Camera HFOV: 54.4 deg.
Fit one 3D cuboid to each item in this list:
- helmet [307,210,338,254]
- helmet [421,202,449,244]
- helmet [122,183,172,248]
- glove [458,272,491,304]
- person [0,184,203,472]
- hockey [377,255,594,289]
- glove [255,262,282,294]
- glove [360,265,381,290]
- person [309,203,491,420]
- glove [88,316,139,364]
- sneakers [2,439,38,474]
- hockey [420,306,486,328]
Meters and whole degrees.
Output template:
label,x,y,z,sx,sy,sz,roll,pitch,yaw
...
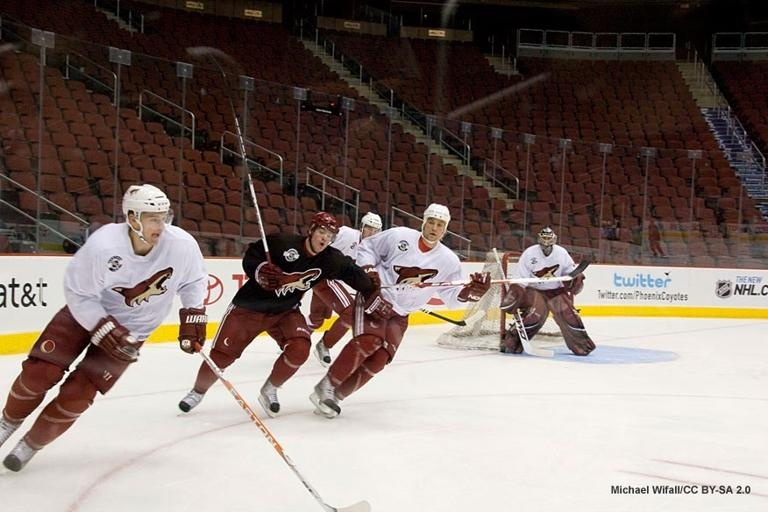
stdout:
label,x,y,z,sx,sy,sz,roll,pitch,yaw
helmet,-0.459,-0.160,5.560,0.201,0.310,0.256,0,3,-13
helmet,0.419,-0.251,6.111,0.205,0.343,0.242,1,3,-1
helmet,-1.526,-0.267,4.786,0.333,0.331,0.243,9,13,15
glove,0.763,0.266,6.097,0.235,0.243,0.283,-1,3,-31
person,-1.800,0.447,4.813,1.269,1.782,0.415,0,4,-9
hockey,1.043,0.197,7.269,2.300,0.213,0.217,-1,-17,-23
glove,-0.855,0.152,5.559,0.188,0.209,0.057,0,3,-7
glove,-0.070,0.169,5.807,0.159,0.167,0.168,-7,-3,5
person,0.179,0.478,5.990,1.213,1.820,0.777,16,-18,36
glove,-1.728,0.494,4.704,0.353,0.141,0.266,42,25,29
sneakers,-2.262,1.240,4.670,0.259,0.141,0.096,-42,1,-36
hockey,0.666,0.661,7.720,0.458,0.100,0.416,11,-4,-11
